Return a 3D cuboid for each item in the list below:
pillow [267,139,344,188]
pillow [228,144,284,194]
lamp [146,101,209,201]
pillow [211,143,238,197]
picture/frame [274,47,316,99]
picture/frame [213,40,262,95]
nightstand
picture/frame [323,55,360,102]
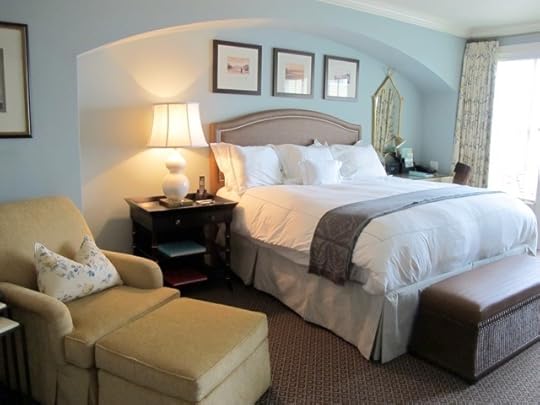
[{"bbox_3d":[0.321,-0.406,4.376,0.545,0.560,0.162,3,-16,-33],"label":"pillow"},{"bbox_3d":[-0.137,-0.377,4.154,0.499,0.545,0.154,-6,-14,-39],"label":"pillow"},{"bbox_3d":[-0.912,-0.495,3.750,0.546,0.918,0.385,7,13,28],"label":"lamp"},{"bbox_3d":[-0.473,-0.376,4.146,0.130,0.481,0.399,-3,2,5],"label":"pillow"},{"bbox_3d":[0.272,-1.585,4.700,0.627,0.589,0.043,-2,7,-37],"label":"picture/frame"},{"bbox_3d":[-0.384,-1.511,4.296,0.634,0.585,0.046,-1,4,-41],"label":"picture/frame"},{"bbox_3d":[-0.763,0.219,4.003,1.186,1.240,0.844,-4,7,-36],"label":"nightstand"},{"bbox_3d":[0.909,-1.645,5.086,0.597,0.546,0.041,-6,11,-38],"label":"picture/frame"}]
